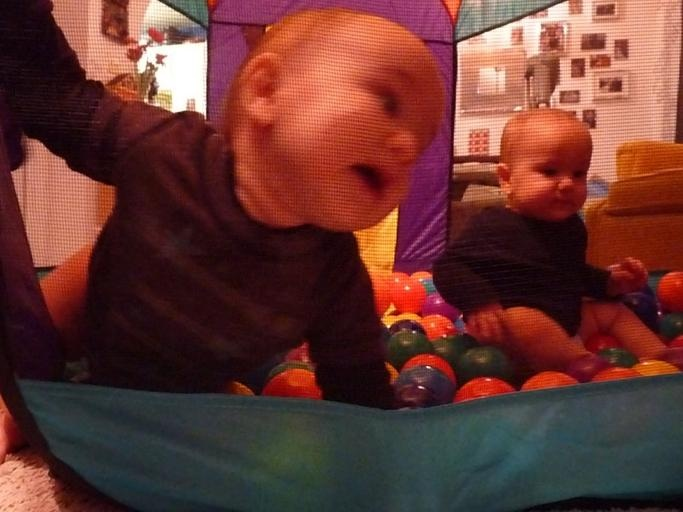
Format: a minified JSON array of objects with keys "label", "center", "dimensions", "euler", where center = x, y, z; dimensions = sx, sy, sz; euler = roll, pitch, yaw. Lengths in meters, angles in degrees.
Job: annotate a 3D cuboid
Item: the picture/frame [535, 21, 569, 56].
[{"label":"picture/frame","center":[0.379,-0.385,1.428],"dimensions":[0.057,0.056,0.014],"euler":[-2,1,-4]}]
